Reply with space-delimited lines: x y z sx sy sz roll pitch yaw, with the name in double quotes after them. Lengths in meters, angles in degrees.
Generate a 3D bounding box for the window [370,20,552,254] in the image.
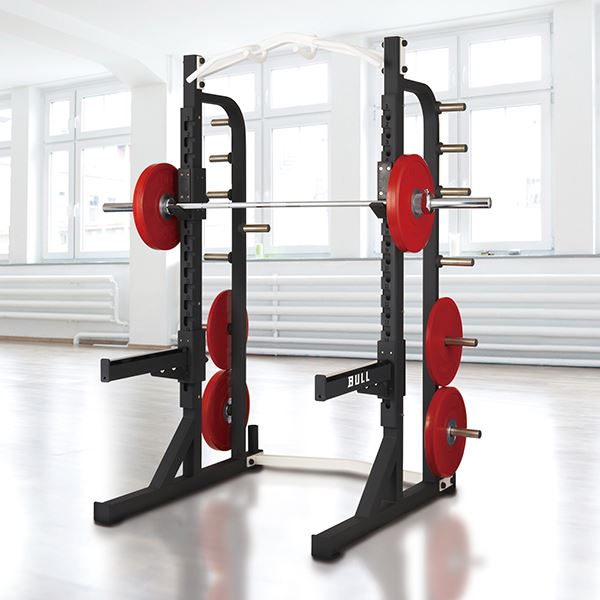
1.349 -1.321 5.056 1.585 2.289 0.157 0 -20 16 "window"

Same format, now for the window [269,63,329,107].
0.016 -2.107 5.756 0.421 0.293 0.020 0 0 31 "window"

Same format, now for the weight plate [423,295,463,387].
0.450 0.130 1.815 0.063 0.272 0.219 0 1 32 "weight plate"

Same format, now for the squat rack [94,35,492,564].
-0.046 -0.059 1.849 0.920 1.501 0.797 1 6 16 "squat rack"

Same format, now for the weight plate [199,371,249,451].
-0.270 0.395 2.089 0.066 0.336 0.259 4 11 31 "weight plate"

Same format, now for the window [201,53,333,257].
-0.360 -1.363 5.825 1.525 2.581 0.109 -2 -34 0 "window"

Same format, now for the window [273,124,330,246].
0.094 -1.295 5.944 0.634 0.066 1.336 12 -22 17 "window"

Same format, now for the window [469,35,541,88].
1.786 -2.044 5.050 0.439 0.333 0.065 1 1 33 "window"
